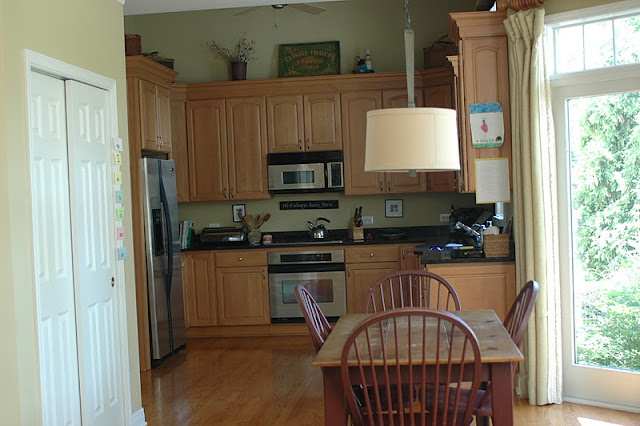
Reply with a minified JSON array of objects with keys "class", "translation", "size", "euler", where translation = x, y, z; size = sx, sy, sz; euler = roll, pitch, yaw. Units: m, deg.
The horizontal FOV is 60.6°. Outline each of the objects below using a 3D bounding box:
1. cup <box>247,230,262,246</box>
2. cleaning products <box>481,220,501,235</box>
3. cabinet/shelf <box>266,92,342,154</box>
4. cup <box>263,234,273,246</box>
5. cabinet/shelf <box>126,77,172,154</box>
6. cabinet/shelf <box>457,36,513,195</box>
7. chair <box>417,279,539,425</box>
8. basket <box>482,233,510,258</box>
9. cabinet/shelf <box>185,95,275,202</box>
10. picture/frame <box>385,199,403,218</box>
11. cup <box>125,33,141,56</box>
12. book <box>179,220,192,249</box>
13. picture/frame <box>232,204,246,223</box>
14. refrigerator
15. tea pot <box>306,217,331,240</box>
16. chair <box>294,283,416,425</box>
[{"class":"cup","translation":[-0.815,0.298,6.864],"size":[0.179,0.189,0.176],"euler":[-1,-3,0]},{"class":"cleaning products","translation":[1.668,0.153,5.365],"size":[0.163,0.081,0.232],"euler":[0,3,1]},{"class":"cabinet/shelf","translation":[-0.158,-1.144,6.779],"size":[0.778,0.558,0.294],"euler":[0,1,5]},{"class":"cup","translation":[-0.651,0.329,6.796],"size":[0.110,0.105,0.111],"euler":[0,-4,0]},{"class":"cabinet/shelf","translation":[-1.945,-1.097,6.176],"size":[0.296,0.721,0.811],"euler":[1,5,9]},{"class":"cabinet/shelf","translation":[1.587,-1.144,5.240],"size":[0.431,1.205,0.371],"euler":[2,36,20]},{"class":"chair","translation":[1.079,0.951,4.287],"size":[1.056,1.506,0.827],"euler":[0,-2,8]},{"class":"basket","translation":[1.636,0.294,5.113],"size":[0.222,0.212,0.220],"euler":[0,1,8]},{"class":"cabinet/shelf","translation":[-1.098,-0.856,6.851],"size":[1.311,1.702,0.667],"euler":[-1,1,1]},{"class":"picture/frame","translation":[0.958,-0.073,7.051],"size":[0.248,0.256,0.018],"euler":[0,0,2]},{"class":"cup","translation":[-2.023,-1.807,5.931],"size":[0.176,0.259,0.376],"euler":[-7,12,-19]},{"class":"book","translation":[-1.715,0.264,6.996],"size":[0.093,0.301,0.226],"euler":[6,-6,-37]},{"class":"picture/frame","translation":[-1.055,-0.011,7.183],"size":[0.244,0.318,0.022],"euler":[1,4,7]},{"class":"refrigerator","translation":[-1.739,0.496,6.084],"size":[0.242,2.240,0.775],"euler":[-3,11,5]},{"class":"tea pot","translation":[-0.031,0.196,6.998],"size":[0.307,0.260,0.223],"euler":[1,-4,5]},{"class":"chair","translation":[0.330,0.963,4.349],"size":[0.954,1.413,0.832],"euler":[-2,3,4]}]
